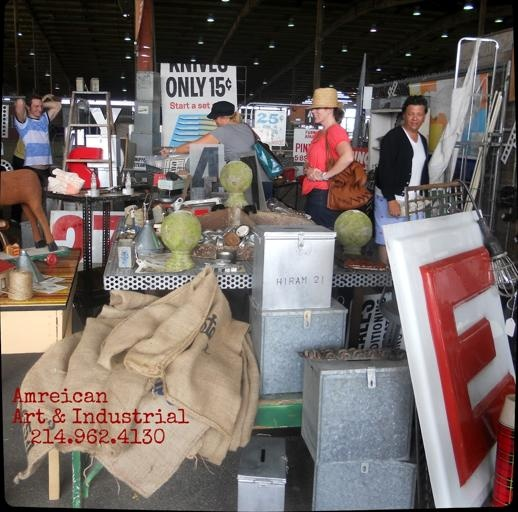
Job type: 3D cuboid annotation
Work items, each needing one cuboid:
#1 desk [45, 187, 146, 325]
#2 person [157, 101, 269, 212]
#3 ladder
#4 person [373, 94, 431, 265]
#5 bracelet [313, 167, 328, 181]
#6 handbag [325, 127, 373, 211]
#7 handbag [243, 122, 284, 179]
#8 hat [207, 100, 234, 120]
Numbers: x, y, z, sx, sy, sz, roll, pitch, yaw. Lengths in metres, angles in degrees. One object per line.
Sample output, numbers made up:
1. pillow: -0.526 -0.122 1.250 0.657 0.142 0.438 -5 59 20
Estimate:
1. desk: -1.482 -0.003 4.606 0.874 1.077 0.949 15 2 -43
2. person: -0.436 -0.919 3.920 1.126 0.922 1.614 2 18 1
3. ladder: -2.150 -1.455 5.569 0.759 1.465 0.747 -1 -1 -26
4. person: 1.157 -0.627 3.476 0.434 1.253 0.943 7 19 14
5. bracelet: 0.452 -0.584 3.144 0.090 0.034 0.066 40 2 -8
6. handbag: 0.642 -0.604 3.197 0.287 0.587 0.258 -2 1 18
7. handbag: 0.033 -1.199 5.004 0.173 0.775 0.312 -26 0 -6
8. hat: -0.371 -1.426 4.254 0.235 0.128 0.171 16 28 28
